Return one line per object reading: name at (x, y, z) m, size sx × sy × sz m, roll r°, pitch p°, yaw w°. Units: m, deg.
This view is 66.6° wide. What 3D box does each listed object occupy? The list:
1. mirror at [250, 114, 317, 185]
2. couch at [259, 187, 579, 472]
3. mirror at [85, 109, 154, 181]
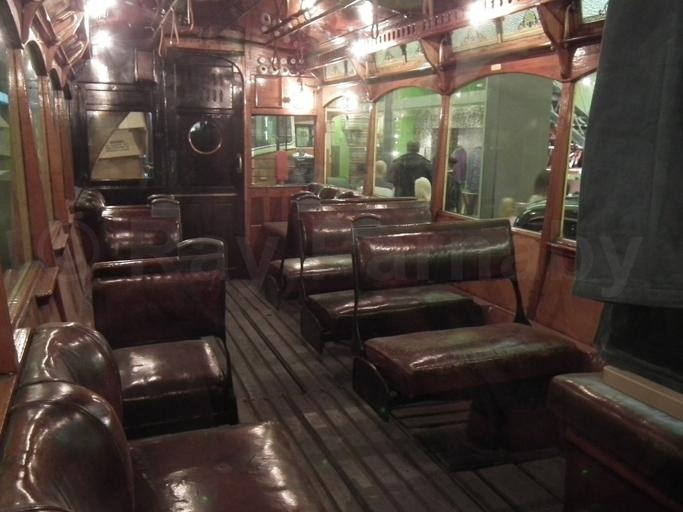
mirror at (-1.090, -1.955, 9.237) m, size 1.168 × 1.273 × 0.059 m, roll -5°, pitch 6°, yaw -28°
couch at (0.650, 0.529, 4.702) m, size 1.318 × 1.475 × 2.508 m, roll -2°, pitch 5°, yaw -14°
mirror at (-3.575, -1.807, 8.231) m, size 0.891 × 1.111 × 0.107 m, roll 14°, pitch -2°, yaw -34°
